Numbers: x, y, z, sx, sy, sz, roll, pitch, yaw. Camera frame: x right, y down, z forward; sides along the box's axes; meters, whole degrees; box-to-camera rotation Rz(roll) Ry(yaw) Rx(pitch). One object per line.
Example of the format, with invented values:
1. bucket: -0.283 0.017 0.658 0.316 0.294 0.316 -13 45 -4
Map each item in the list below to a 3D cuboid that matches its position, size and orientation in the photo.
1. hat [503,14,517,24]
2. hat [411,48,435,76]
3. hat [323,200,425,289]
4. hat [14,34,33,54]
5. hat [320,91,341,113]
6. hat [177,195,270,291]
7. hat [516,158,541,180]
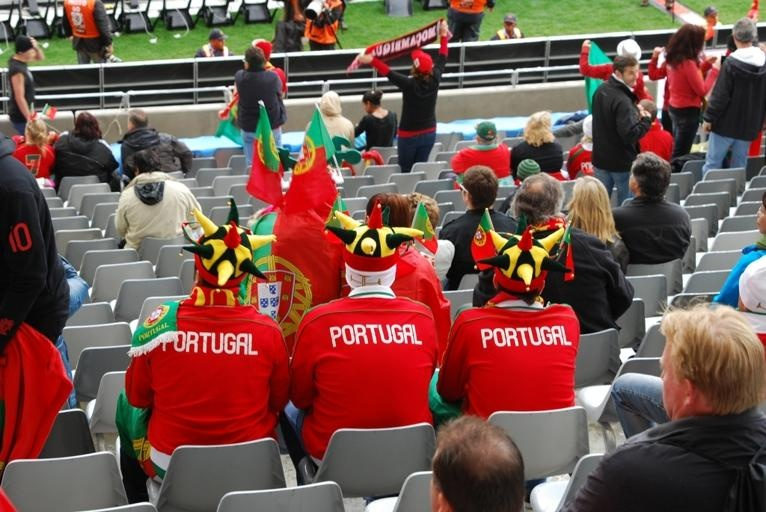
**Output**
1. hat: 2.001 -3.698 21.624 0.124 0.117 0.203 4 8 11
2. hat: 0.479 -2.274 16.264 0.242 0.288 0.298 -1 9 2
3. hat: -0.094 -0.092 11.264 0.672 0.733 0.654 9 19 11
4. hat: -4.519 -2.693 17.350 0.176 0.251 0.220 -5 -14 -45
5. hat: -0.662 -1.858 16.789 0.238 0.313 0.284 6 9 21
6. hat: -1.233 -0.068 11.043 0.588 0.519 0.681 13 43 -34
7. hat: 1.519 -0.871 14.299 0.183 0.260 0.259 3 29 2
